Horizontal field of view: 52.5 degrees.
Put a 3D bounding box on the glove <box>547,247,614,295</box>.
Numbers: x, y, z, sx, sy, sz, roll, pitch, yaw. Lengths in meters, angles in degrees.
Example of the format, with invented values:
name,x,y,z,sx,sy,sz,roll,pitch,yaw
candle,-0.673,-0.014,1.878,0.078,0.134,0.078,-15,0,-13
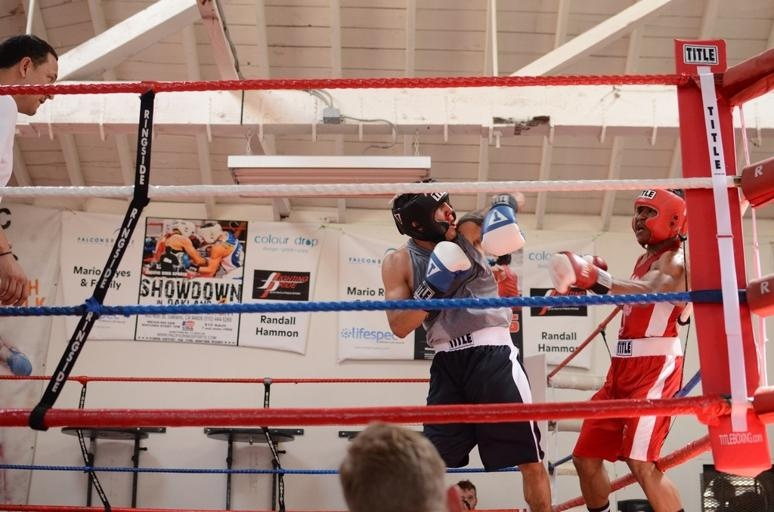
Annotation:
name,x,y,z,sx,sy,sz,roll,pitch,yaw
glove,1.045,0.060,4.232,0.304,0.126,0.281,6,-10,14

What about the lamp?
name,x,y,z,sx,sy,sz,roll,pitch,yaw
lamp,-0.454,-0.681,6.232,1.584,0.201,0.432,-1,-15,4

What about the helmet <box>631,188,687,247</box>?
name,x,y,z,sx,sy,sz,roll,pitch,yaw
helmet,1.660,-0.250,4.696,0.388,0.303,0.289,0,-4,-9

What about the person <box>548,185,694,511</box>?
name,x,y,z,sx,sy,sz,roll,pitch,yaw
person,1.406,0.492,4.534,0.742,1.919,1.102,-5,-17,17

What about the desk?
name,x,y,z,sx,sy,sz,roll,pitch,yaw
desk,-1.870,1.948,7.176,2.173,0.778,1.437,2,-15,-6

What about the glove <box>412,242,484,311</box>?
name,x,y,z,sx,sy,sz,roll,pitch,yaw
glove,0.333,0.113,4.359,0.346,0.381,0.356,-1,-16,6
